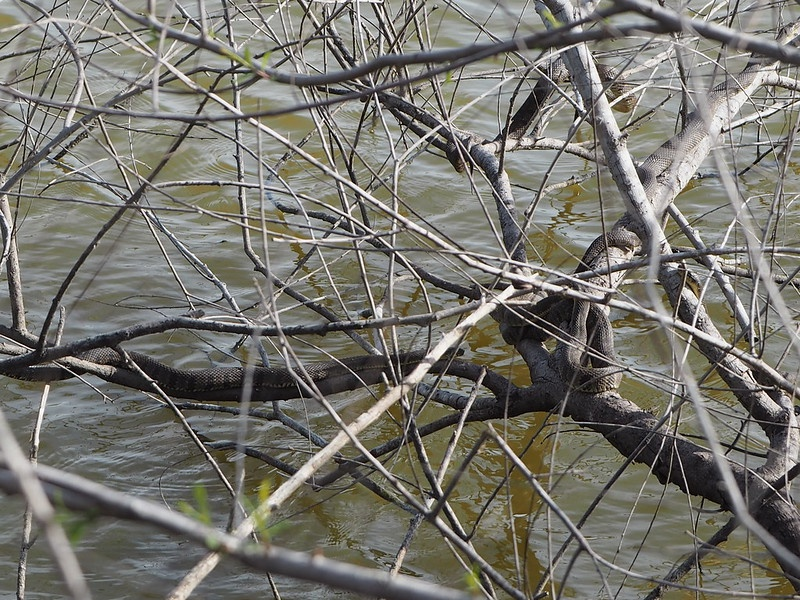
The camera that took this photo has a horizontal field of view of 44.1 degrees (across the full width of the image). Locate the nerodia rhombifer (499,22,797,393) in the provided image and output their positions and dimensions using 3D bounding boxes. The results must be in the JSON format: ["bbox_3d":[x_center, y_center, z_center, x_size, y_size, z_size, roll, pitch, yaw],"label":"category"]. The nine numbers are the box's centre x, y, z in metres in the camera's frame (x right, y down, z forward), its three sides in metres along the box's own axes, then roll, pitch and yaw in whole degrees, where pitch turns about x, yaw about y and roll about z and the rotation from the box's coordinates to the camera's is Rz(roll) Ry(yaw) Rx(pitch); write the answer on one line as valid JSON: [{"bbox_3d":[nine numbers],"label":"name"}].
[{"bbox_3d":[1.193,-0.398,5.054,1.127,1.994,0.290,-13,-18,27],"label":"nerodia rhombifer"}]
